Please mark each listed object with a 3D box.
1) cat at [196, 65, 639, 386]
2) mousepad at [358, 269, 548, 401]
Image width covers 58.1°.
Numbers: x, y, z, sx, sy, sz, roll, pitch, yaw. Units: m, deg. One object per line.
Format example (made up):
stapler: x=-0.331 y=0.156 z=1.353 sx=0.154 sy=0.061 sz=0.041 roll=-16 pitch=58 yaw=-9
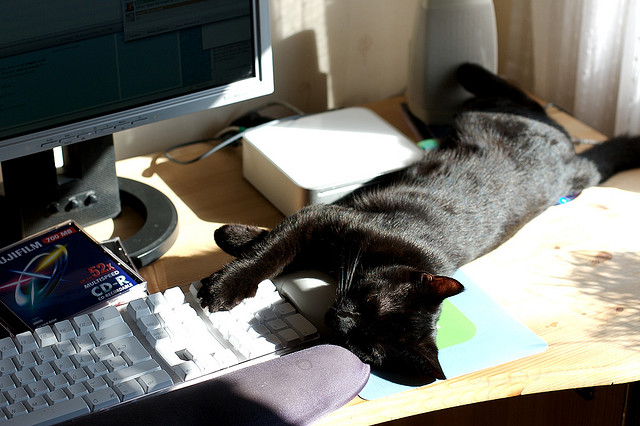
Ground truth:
cat: x=0.227 y=-0.032 z=1.060 sx=0.935 sy=0.181 sz=0.466 roll=-30 pitch=43 yaw=-30
mousepad: x=0.206 y=0.187 z=0.861 sx=0.188 sy=0.010 sz=0.196 roll=-16 pitch=37 yaw=-17
